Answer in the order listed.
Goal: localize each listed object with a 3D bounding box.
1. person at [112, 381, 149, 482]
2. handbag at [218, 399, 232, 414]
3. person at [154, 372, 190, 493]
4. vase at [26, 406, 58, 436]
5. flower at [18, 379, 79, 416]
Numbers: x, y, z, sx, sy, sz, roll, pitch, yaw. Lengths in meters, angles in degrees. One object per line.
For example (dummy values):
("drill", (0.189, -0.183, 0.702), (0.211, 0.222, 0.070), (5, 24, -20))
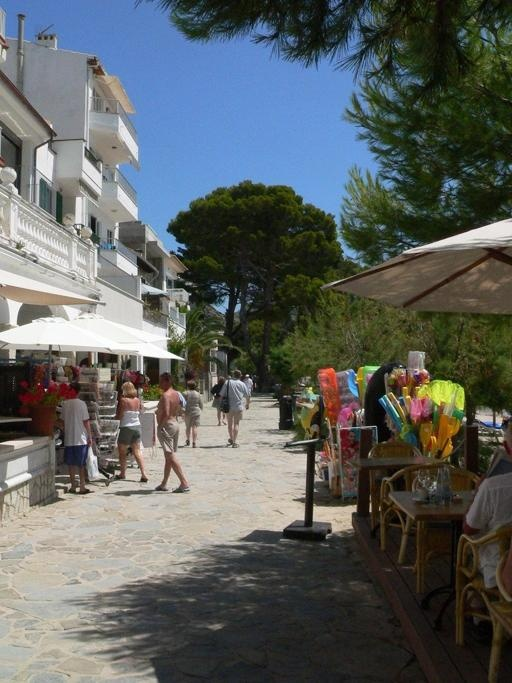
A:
("person", (-2.248, 1.621, 11.024), (0.548, 1.749, 1.097), (1, -5, -12))
("handbag", (-0.851, 1.763, 16.565), (0.236, 0.310, 0.370), (0, -4, 0))
("person", (-1.328, 1.464, 9.733), (0.548, 1.887, 1.055), (1, -4, -9))
("vase", (-3.123, 1.174, 9.021), (0.439, 0.421, 0.417), (1, -3, -3))
("flower", (-3.124, 0.847, 9.026), (0.713, 0.480, 0.646), (2, -5, -18))
